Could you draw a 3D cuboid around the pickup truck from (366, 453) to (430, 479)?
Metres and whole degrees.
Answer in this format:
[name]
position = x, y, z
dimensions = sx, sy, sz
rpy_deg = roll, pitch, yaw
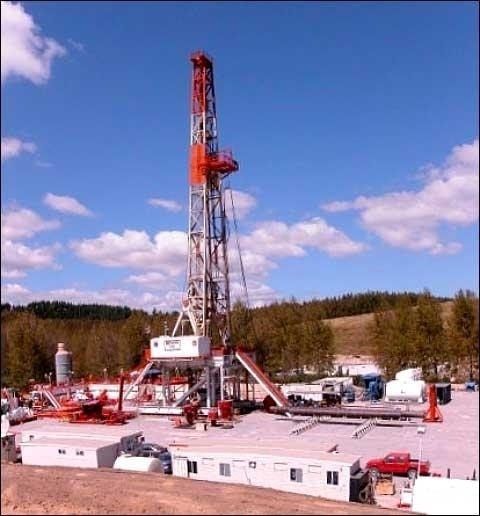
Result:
[pickup truck]
position = 6.423, 8.507, 26.783
dimensions = 2.620, 1.327, 1.607
rpy_deg = 1, -10, 10

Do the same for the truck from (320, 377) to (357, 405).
[truck]
position = 7.676, 10.260, 50.806
dimensions = 1.795, 1.763, 3.671
rpy_deg = 0, 1, 16
